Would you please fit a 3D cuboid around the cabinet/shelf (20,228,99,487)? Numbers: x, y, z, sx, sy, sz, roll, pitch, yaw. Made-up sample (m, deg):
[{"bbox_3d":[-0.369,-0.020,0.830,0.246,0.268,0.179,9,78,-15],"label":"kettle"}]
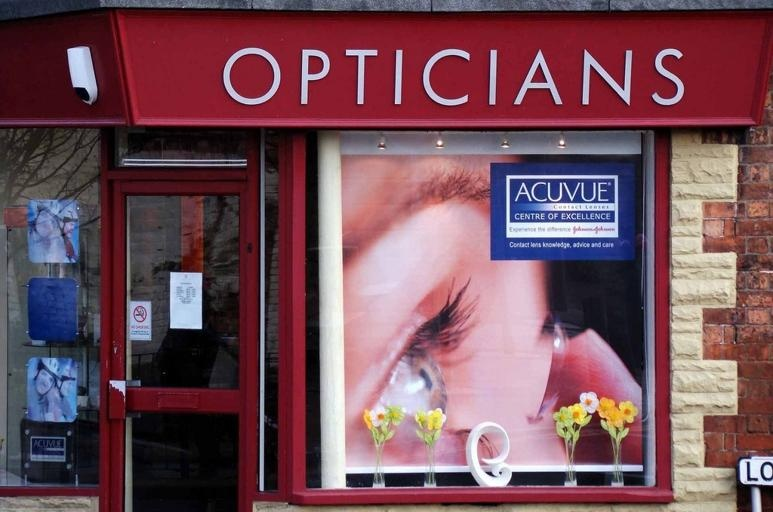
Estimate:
[{"bbox_3d":[-2.960,0.855,11.700,0.801,2.280,0.391,0,-9,-7],"label":"cabinet/shelf"}]
